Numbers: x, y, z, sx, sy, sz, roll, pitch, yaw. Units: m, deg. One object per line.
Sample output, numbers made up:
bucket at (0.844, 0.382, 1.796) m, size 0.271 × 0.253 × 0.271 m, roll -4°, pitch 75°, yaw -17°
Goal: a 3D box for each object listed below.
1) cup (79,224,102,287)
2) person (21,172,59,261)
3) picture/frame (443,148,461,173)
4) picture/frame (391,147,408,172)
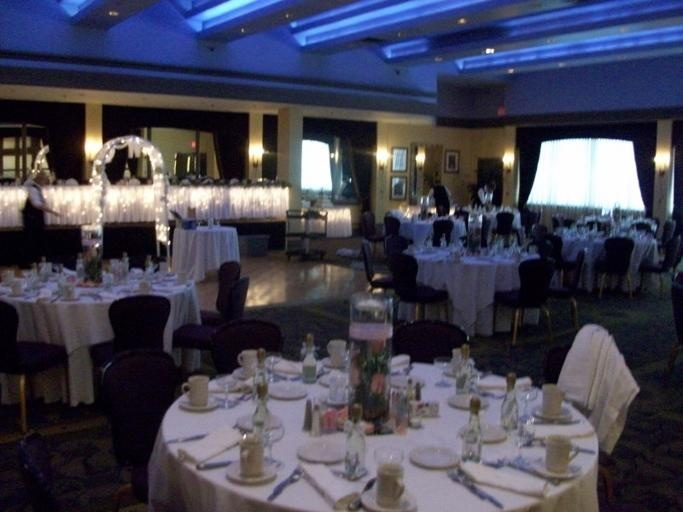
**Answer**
cup at (-2.386, -0.027, 5.238) m, size 0.178 × 0.584 × 0.181 m, roll 3°, pitch 5°, yaw 0°
person at (-5.669, -0.687, 10.298) m, size 0.551 × 1.892 × 0.821 m, roll -7°, pitch 30°, yaw -38°
picture/frame at (3.766, -3.311, 18.906) m, size 0.697 × 0.875 × 0.076 m, roll -7°, pitch 9°, yaw -41°
picture/frame at (1.840, -3.178, 17.865) m, size 0.711 × 0.924 × 0.059 m, roll -3°, pitch 7°, yaw -38°
